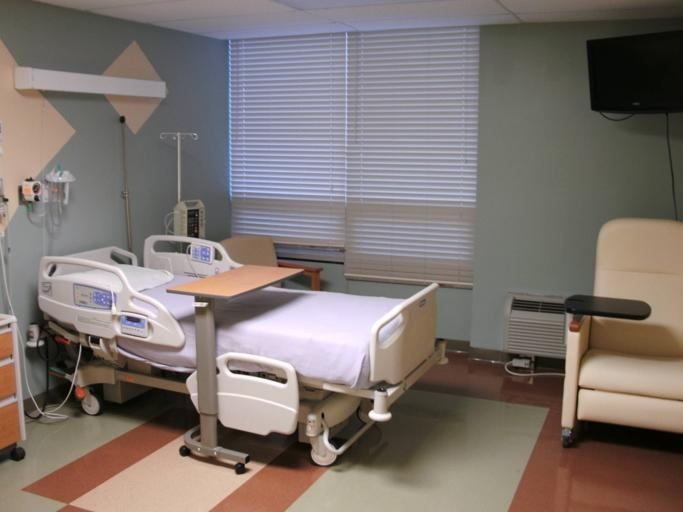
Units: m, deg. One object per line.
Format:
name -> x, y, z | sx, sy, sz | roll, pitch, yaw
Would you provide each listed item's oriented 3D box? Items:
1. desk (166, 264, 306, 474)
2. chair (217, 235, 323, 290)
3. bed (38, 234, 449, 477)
desk -> -0.705, 0.672, 3.524 | 0.513, 1.095, 0.677 | 5, 15, 20
chair -> -0.623, -0.028, 4.995 | 0.648, 0.793, 0.597 | 4, 6, 40
bed -> -0.633, 0.467, 3.753 | 2.255, 1.112, 1.426 | 4, 9, 23
